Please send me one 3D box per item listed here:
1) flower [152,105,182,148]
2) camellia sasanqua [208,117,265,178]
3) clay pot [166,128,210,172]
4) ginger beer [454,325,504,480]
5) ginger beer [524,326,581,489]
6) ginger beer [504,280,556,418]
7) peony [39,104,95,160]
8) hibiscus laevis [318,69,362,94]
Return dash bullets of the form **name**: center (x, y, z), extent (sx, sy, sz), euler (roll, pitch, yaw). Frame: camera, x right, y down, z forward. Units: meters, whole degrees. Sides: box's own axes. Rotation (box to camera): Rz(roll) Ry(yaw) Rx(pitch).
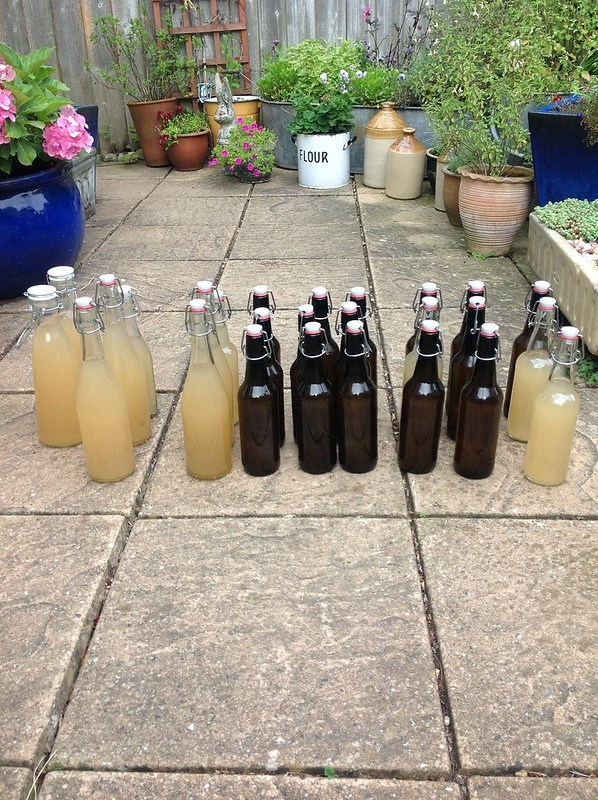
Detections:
- **flower**: center (-1.155, -2.375, 5.309), extent (0.333, 0.339, 0.189), euler (3, 6, 33)
- **camellia sasanqua**: center (-0.480, -1.992, 4.956), extent (0.448, 0.468, 0.390), euler (7, 25, 20)
- **clay pot**: center (-0.932, -2.181, 5.383), extent (0.367, 0.273, 0.371), euler (1, 55, -1)
- **ginger beer**: center (0.452, 0.006, 1.659), extent (0.142, 0.397, 0.145), euler (5, 30, 13)
- **ginger beer**: center (0.684, 0.027, 1.620), extent (0.124, 0.486, 0.167), euler (4, 25, 14)
- **ginger beer**: center (0.725, -0.132, 1.905), extent (0.148, 0.461, 0.148), euler (-16, 38, -13)
- **peony**: center (-1.134, -1.308, 3.062), extent (0.208, 0.276, 0.245), euler (-3, 24, -2)
- **hibiscus laevis**: center (0.332, -2.402, 4.656), extent (0.364, 0.183, 0.334), euler (-7, 24, -12)
